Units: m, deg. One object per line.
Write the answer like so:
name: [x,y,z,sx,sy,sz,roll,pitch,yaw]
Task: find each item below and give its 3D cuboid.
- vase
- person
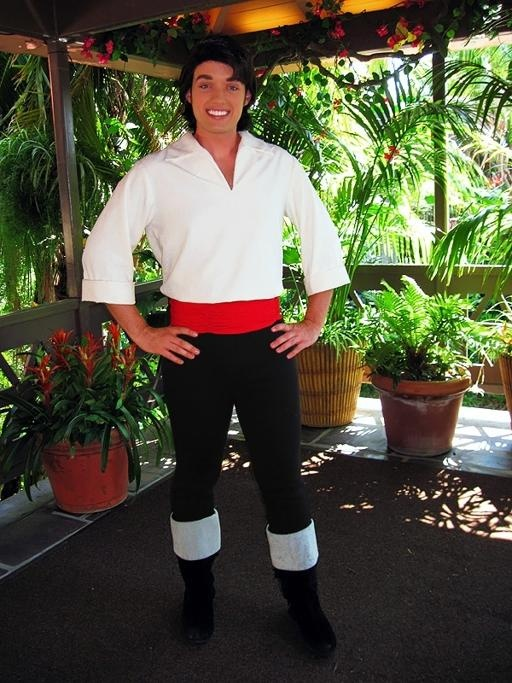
vase: [-0.658,0.538,2.029,0.394,0.269,0.374,-2,3,-7]
person: [-0.072,0.090,1.131,0.403,1.404,0.466,0,5,37]
